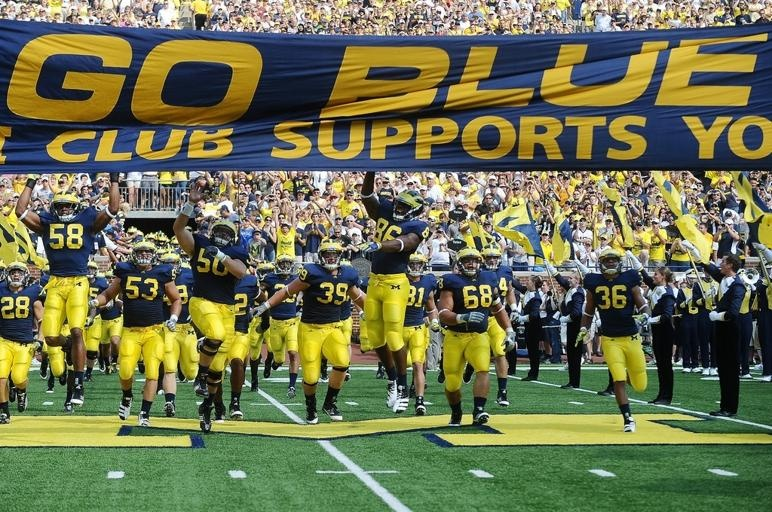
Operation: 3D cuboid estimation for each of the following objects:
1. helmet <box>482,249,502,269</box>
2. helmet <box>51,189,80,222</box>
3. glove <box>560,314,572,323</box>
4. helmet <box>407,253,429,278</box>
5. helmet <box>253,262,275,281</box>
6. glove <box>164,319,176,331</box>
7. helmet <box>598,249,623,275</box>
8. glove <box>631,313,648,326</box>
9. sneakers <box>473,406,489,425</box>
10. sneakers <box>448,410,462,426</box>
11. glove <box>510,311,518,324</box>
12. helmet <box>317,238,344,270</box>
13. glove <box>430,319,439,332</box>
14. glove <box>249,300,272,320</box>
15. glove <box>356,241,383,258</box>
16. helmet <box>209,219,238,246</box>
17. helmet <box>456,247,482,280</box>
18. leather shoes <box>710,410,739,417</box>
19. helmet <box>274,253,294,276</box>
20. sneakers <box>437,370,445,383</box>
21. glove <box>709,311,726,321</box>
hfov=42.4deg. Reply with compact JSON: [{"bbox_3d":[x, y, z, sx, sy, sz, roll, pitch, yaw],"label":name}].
[{"bbox_3d":[1.413,0.049,13.130,0.240,0.242,0.298,0,-7,-3],"label":"helmet"},{"bbox_3d":[-4.030,-0.613,12.662,0.337,0.338,0.403,-3,-11,-10],"label":"helmet"},{"bbox_3d":[2.856,1.011,15.821,0.154,0.074,0.194,-2,0,-2],"label":"glove"},{"bbox_3d":[0.448,0.156,14.748,0.302,0.325,0.349,1,-14,1],"label":"helmet"},{"bbox_3d":[-1.964,0.286,15.958,0.265,0.296,0.325,-1,-24,-17],"label":"helmet"},{"bbox_3d":[-2.701,0.874,12.449,0.145,0.051,0.108,0,-39,51],"label":"glove"},{"bbox_3d":[2.774,0.087,12.319,0.275,0.270,0.346,-3,-9,13],"label":"helmet"},{"bbox_3d":[3.112,0.776,12.161,0.105,0.145,0.199,-38,38,-27],"label":"glove"},{"bbox_3d":[1.133,1.926,11.970,0.109,0.146,0.303,-1,-26,-18],"label":"sneakers"},{"bbox_3d":[0.844,1.985,12.164,0.153,0.161,0.426,0,-12,4],"label":"sneakers"},{"bbox_3d":[1.840,0.882,14.405,0.142,0.150,0.176,-1,-9,3],"label":"glove"},{"bbox_3d":[-0.727,0.003,12.688,0.296,0.316,0.364,4,-5,-5],"label":"helmet"},{"bbox_3d":[0.643,0.926,13.180,0.075,0.079,0.185,-1,-14,-3],"label":"glove"},{"bbox_3d":[-1.549,0.648,12.195,0.256,0.076,0.168,-40,-29,23],"label":"glove"},{"bbox_3d":[-0.244,-0.067,11.312,0.297,0.117,0.286,-4,2,-37],"label":"glove"},{"bbox_3d":[-1.886,-0.236,11.497,0.274,0.266,0.323,7,-14,-10],"label":"helmet"},{"bbox_3d":[1.003,0.090,12.185,0.295,0.288,0.347,2,-4,-4],"label":"helmet"},{"bbox_3d":[4.372,2.036,12.848,0.325,0.114,0.116,-2,-3,17],"label":"leather shoes"},{"bbox_3d":[-1.522,0.134,15.099,0.246,0.272,0.296,6,-31,-17],"label":"helmet"},{"bbox_3d":[0.934,2.070,17.005,0.154,0.164,0.436,0,-8,3],"label":"sneakers"},{"bbox_3d":[4.217,0.780,12.681,0.208,0.114,0.081,7,7,6],"label":"glove"}]
